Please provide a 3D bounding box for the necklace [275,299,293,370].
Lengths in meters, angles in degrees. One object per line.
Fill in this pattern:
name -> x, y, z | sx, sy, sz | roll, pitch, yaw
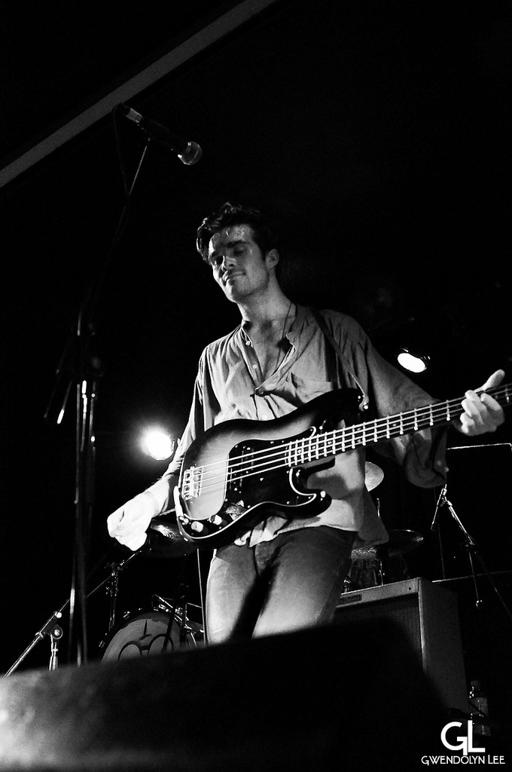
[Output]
necklace -> 0.098, -0.161, 2.442 | 0.068, 0.172, 0.017 | -3, -16, 38

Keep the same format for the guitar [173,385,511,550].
guitar -> 0.117, 0.240, 2.092 | 0.859, 0.394, 0.218 | -5, 10, 24

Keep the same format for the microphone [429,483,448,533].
microphone -> 0.575, 0.376, 2.281 | 0.032, 0.206, 0.023 | 5, -25, 29
